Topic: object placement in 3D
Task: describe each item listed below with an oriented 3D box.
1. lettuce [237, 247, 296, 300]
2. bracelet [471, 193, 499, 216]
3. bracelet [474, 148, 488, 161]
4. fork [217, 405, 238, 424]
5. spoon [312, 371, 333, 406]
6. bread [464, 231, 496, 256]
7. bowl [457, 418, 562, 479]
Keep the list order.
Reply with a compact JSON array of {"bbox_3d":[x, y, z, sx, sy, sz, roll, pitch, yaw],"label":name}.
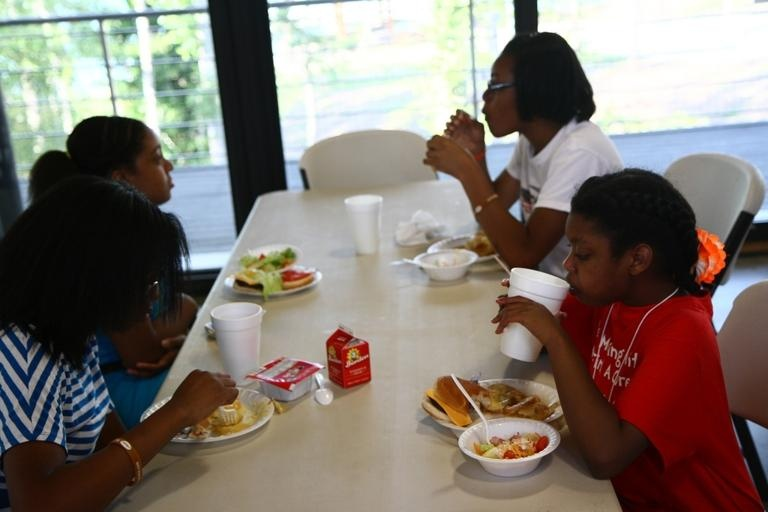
[{"bbox_3d":[-0.377,0.042,1.799,0.153,0.071,0.155,-7,26,0],"label":"lettuce"},{"bbox_3d":[0.338,-0.176,1.892,0.073,0.019,0.073,-39,-3,22],"label":"bracelet"},{"bbox_3d":[0.400,-0.419,2.328,0.052,0.051,0.046,2,26,6],"label":"bracelet"},{"bbox_3d":[-0.329,0.331,1.189,0.044,0.018,0.030,-8,57,-30],"label":"fork"},{"bbox_3d":[-0.141,0.295,1.290,0.031,0.029,0.070,0,30,-18],"label":"spoon"},{"bbox_3d":[0.328,-0.046,1.953,0.073,0.025,0.082,-2,25,3],"label":"bread"},{"bbox_3d":[0.242,0.368,1.102,0.192,0.069,0.121,-3,16,3],"label":"bowl"}]
